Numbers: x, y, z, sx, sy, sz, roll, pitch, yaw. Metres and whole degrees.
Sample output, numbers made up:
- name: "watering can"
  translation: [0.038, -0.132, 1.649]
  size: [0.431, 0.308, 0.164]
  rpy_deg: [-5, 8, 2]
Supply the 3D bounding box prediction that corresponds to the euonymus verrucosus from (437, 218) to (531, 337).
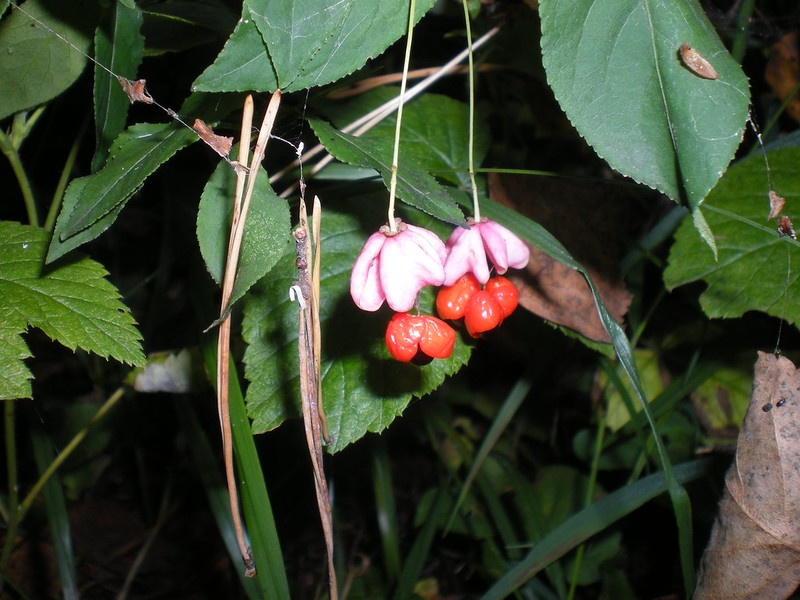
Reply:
- name: "euonymus verrucosus"
  translation: [0.183, -0.056, 1.830]
  size: [0.195, 0.295, 0.131]
  rpy_deg: [9, -26, -2]
